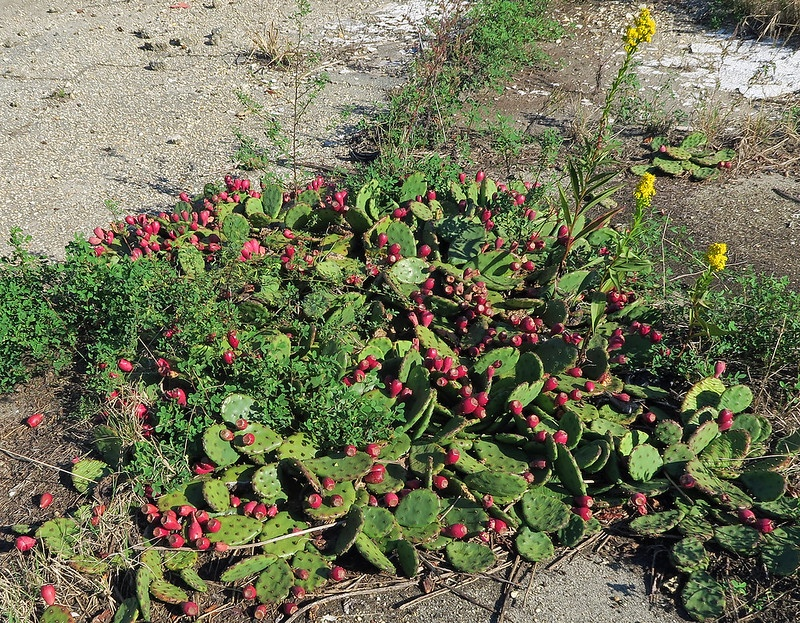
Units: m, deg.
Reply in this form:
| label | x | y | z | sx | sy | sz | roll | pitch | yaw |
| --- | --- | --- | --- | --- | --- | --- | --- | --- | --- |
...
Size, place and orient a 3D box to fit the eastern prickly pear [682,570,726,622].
| label | x | y | z | sx | sy | sz | roll | pitch | yaw |
| --- | --- | --- | --- | --- | --- | --- | --- | --- | --- |
| eastern prickly pear | 1.662 | 1.570 | 4.137 | 0.233 | 0.090 | 0.240 | -30 | 59 | -23 |

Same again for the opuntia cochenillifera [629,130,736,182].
| label | x | y | z | sx | sy | sz | roll | pitch | yaw |
| --- | --- | --- | --- | --- | --- | --- | --- | --- | --- |
| opuntia cochenillifera | 2.604 | -1.413 | 6.865 | 0.762 | 0.199 | 0.707 | 4 | 58 | 16 |

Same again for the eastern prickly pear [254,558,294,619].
| label | x | y | z | sx | sy | sz | roll | pitch | yaw |
| --- | --- | --- | --- | --- | --- | --- | --- | --- | --- |
| eastern prickly pear | -0.697 | 1.483 | 4.100 | 0.226 | 0.114 | 0.184 | -29 | 59 | -22 |

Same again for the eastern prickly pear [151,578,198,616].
| label | x | y | z | sx | sy | sz | roll | pitch | yaw |
| --- | --- | --- | --- | --- | --- | --- | --- | --- | --- |
| eastern prickly pear | -1.221 | 1.526 | 4.033 | 0.273 | 0.069 | 0.148 | 32 | 32 | 5 |
